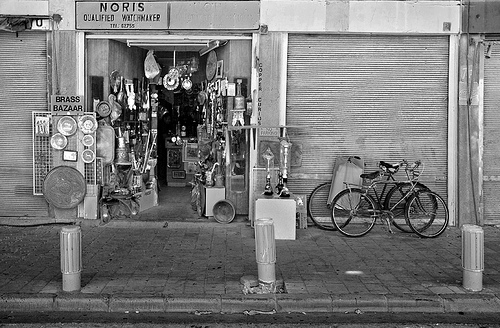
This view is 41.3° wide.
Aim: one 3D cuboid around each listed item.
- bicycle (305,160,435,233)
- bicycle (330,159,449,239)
[{"bbox_3d":[2.722,0.775,13.111,2.415,1.300,0.933,0,-2,-16],"label":"bicycle"},{"bbox_3d":[2.817,0.814,13.716,2.552,1.577,1.255,0,-2,-1],"label":"bicycle"}]
